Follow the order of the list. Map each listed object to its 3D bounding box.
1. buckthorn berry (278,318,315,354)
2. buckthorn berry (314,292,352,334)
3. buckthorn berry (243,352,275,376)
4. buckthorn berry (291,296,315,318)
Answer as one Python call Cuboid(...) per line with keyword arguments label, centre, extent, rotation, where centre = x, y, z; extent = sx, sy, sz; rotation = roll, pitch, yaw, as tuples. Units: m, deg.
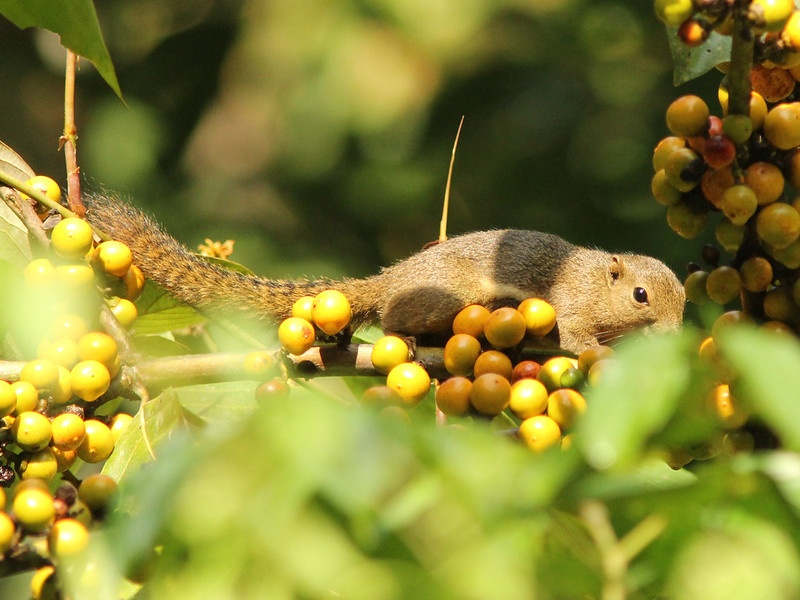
Cuboid(label="buckthorn berry", centre=(-0.195, 0.069, 1.854), extent=(0.035, 0.042, 0.038), rotation=(-42, 38, 5))
Cuboid(label="buckthorn berry", centre=(-0.134, 0.025, 1.902), extent=(0.073, 0.077, 0.090), rotation=(8, 97, 20))
Cuboid(label="buckthorn berry", centre=(-0.263, 0.119, 1.834), extent=(0.055, 0.023, 0.045), rotation=(4, 75, 2))
Cuboid(label="buckthorn berry", centre=(-0.196, 0.013, 1.983), extent=(0.043, 0.043, 0.052), rotation=(10, 58, -8))
